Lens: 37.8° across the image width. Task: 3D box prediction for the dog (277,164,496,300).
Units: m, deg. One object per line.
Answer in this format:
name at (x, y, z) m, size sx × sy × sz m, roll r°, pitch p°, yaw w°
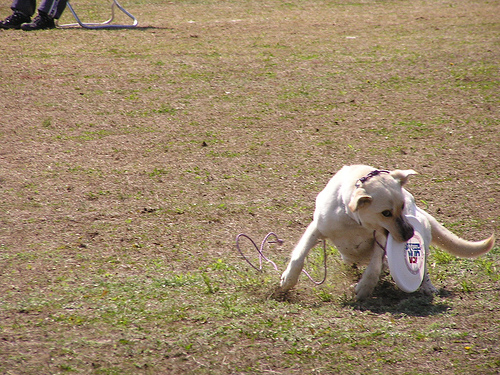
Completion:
dog at (1.721, 0.415, 9.038) m, size 3.039 × 0.922 × 2.024 m, roll 1°, pitch 7°, yaw 7°
